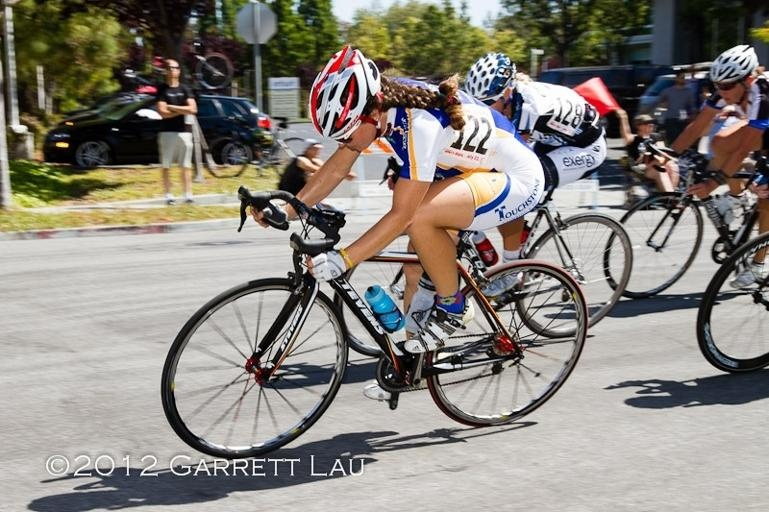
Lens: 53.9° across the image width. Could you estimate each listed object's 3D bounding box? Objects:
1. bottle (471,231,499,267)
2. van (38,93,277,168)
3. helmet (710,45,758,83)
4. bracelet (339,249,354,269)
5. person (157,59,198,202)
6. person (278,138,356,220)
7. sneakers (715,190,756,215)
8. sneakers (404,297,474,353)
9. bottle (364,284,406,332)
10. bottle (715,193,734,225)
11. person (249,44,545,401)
[{"bbox_3d":[0.826,-0.074,6.356,0.192,0.325,0.090,-41,19,-22],"label":"bottle"},{"bbox_3d":[-5.262,-2.779,16.572,5.351,1.143,1.794,-1,12,-12],"label":"van"},{"bbox_3d":[3.312,-1.811,7.171,0.413,0.356,0.303,3,12,17],"label":"helmet"},{"bbox_3d":[-0.233,0.018,4.655,0.036,0.103,0.115,-35,-19,0],"label":"bracelet"},{"bbox_3d":[-3.346,-1.993,12.259,0.600,2.291,0.569,-3,13,-13],"label":"person"},{"bbox_3d":[-1.063,-1.247,11.150,1.258,1.288,0.549,-10,56,-26],"label":"person"},{"bbox_3d":[3.565,-0.539,7.628,0.338,0.186,0.499,3,7,35],"label":"sneakers"},{"bbox_3d":[0.349,0.447,5.065,0.572,0.234,0.206,-31,39,-20],"label":"sneakers"},{"bbox_3d":[-0.006,0.353,4.981,0.182,0.319,0.148,-28,26,3],"label":"bottle"},{"bbox_3d":[3.367,-0.464,7.420,0.235,0.240,0.108,-10,-3,-10],"label":"bottle"},{"bbox_3d":[0.222,-0.229,5.049,1.650,2.206,0.601,-5,14,-22],"label":"person"}]
